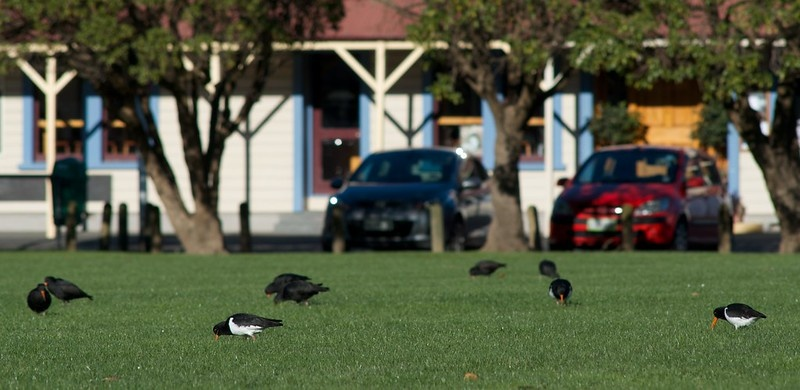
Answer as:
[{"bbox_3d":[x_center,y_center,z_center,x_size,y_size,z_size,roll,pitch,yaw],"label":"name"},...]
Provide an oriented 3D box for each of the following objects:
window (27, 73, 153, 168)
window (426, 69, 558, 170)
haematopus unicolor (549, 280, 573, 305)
[{"bbox_3d":[-10.368,-2.530,66.378,2.906,2.468,0.241,1,4,10],"label":"window"},{"bbox_3d":[2.906,-2.550,64.848,3.212,2.714,0.151,1,-6,7],"label":"window"},{"bbox_3d":[4.314,2.734,53.990,0.385,0.561,0.782,-2,13,5],"label":"haematopus unicolor"}]
